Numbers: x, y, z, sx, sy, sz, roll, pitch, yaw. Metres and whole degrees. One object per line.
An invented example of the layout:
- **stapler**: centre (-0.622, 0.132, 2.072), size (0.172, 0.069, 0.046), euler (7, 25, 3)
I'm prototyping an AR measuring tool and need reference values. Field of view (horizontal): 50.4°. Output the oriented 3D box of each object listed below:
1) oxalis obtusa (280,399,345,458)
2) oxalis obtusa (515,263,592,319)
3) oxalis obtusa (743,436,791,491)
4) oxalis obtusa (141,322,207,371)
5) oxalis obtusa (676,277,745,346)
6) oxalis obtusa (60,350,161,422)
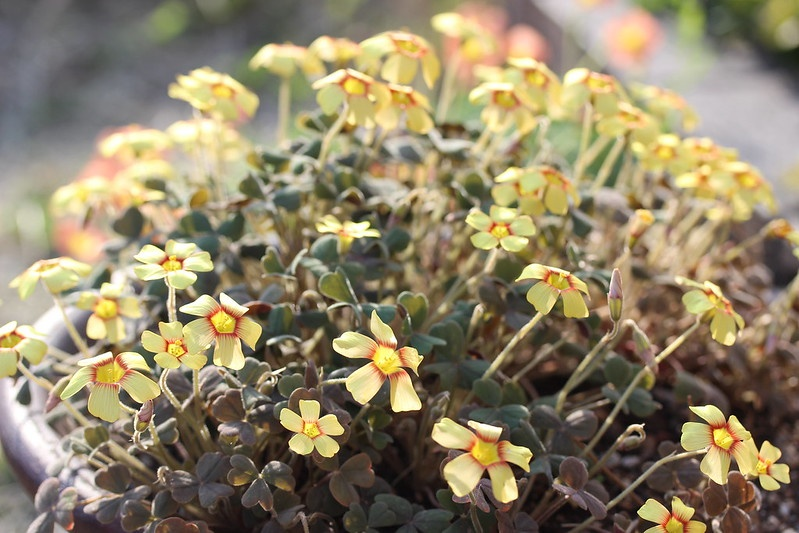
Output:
- **oxalis obtusa**: centre (-0.200, 0.364, 1.926), size (0.144, 0.042, 0.120), euler (6, 84, 0)
- **oxalis obtusa**: centre (0.357, 0.071, 2.076), size (0.170, 0.266, 0.118), euler (4, 82, 0)
- **oxalis obtusa**: centre (0.859, 0.468, 2.030), size (0.130, 0.046, 0.127), euler (52, 58, -11)
- **oxalis obtusa**: centre (-0.510, 0.188, 1.908), size (0.113, 0.051, 0.122), euler (-13, 68, -15)
- **oxalis obtusa**: centre (0.730, 0.090, 2.032), size (0.064, 0.167, 0.165), euler (-39, 47, 13)
- **oxalis obtusa**: centre (-0.655, 0.274, 1.937), size (0.208, 0.114, 0.152), euler (-19, 84, -3)
